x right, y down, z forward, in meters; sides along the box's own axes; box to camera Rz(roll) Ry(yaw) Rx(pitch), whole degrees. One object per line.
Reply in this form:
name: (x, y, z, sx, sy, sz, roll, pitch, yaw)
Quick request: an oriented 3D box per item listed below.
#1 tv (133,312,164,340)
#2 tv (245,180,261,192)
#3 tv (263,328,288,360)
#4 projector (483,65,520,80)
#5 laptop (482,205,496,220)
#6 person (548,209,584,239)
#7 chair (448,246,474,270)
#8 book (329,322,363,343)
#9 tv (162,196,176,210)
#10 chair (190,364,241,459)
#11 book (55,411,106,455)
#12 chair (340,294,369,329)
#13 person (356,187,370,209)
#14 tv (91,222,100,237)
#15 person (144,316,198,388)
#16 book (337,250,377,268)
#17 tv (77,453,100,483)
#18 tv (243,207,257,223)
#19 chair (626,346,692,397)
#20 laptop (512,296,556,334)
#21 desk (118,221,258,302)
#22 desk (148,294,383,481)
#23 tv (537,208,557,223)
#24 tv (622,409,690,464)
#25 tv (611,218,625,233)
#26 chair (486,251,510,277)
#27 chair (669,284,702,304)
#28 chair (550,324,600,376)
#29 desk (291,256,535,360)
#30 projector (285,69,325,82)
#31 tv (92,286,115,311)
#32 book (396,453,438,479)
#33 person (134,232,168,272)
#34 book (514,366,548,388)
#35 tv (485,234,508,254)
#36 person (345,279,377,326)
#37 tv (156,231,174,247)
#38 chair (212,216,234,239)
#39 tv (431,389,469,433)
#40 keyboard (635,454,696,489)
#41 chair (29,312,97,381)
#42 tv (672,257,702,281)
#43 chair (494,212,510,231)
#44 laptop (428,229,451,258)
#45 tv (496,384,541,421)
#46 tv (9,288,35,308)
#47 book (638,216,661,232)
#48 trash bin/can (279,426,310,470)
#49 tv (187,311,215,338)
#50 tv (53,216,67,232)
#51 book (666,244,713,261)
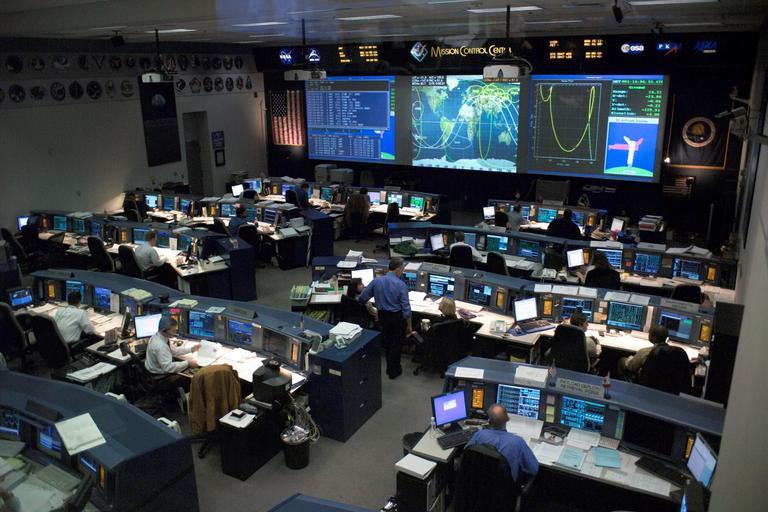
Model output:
tv: (-3.847, 1.075, 9.469, 0.523, 0.474, 0.376, -2, 13, -29)
tv: (-3.875, -2.096, 17.192, 0.384, 0.354, 0.683, 0, 3, -9)
tv: (-1.692, 1.369, 8.990, 0.441, 0.283, 0.236, 13, 19, 26)
projector: (2.304, -3.593, 11.244, 0.688, 0.314, 0.349, 2, 16, 12)
laptop: (2.700, -1.106, 14.788, 0.337, 0.461, 0.352, 1, 4, -20)
person: (4.216, -0.714, 13.219, 0.477, 0.764, 0.627, -14, 23, -38)
chair: (1.566, 0.018, 11.753, 0.427, 0.642, 0.508, 7, 34, 14)
book: (-0.646, 1.173, 8.896, 0.328, 0.094, 0.307, 11, 23, 33)
tv: (-5.993, -1.494, 16.003, 0.347, 0.306, 0.175, 8, 20, 18)
chair: (-2.641, 2.205, 8.514, 0.743, 1.170, 0.786, 5, 12, 31)
book: (-3.651, 2.217, 6.941, 0.421, 0.496, 0.429, 13, 21, 41)
chair: (-0.571, 1.039, 10.357, 0.593, 0.661, 0.565, 1, 12, 3)
person: (-0.544, -1.577, 15.780, 0.273, 0.477, 0.758, -2, 15, -3)
tv: (-6.818, -0.623, 13.553, 0.053, 0.254, 0.378, -10, 14, -44)
person: (-3.328, 1.713, 9.075, 0.933, 1.414, 0.672, 1, 13, -28)
book: (-0.544, 0.094, 11.229, 0.400, 0.164, 0.519, 5, 12, 16)
tv: (-3.564, 2.543, 6.926, 0.333, 0.313, 0.077, 10, 11, 30)
tv: (-3.470, -1.058, 14.865, 0.444, 0.411, 0.226, 5, 16, 9)
chair: (3.992, 1.589, 8.379, 0.608, 0.806, 0.747, 5, 12, 17)
laptop: (2.454, 1.001, 9.577, 0.782, 0.465, 0.508, -8, 8, -24)
desk: (-3.829, 0.124, 12.347, 3.041, 0.961, 1.652, 13, 22, 29)
desk: (-2.120, 1.617, 9.353, 3.854, 1.228, 1.207, 10, 20, 24)
tv: (4.094, -1.014, 14.365, 0.434, 0.343, 0.230, 8, 13, 32)
tv: (3.418, 2.311, 7.412, 0.710, 0.532, 0.670, 18, 13, 15)
tv: (5.393, -0.683, 13.268, 0.080, 0.269, 0.292, 12, 9, -45)
chair: (2.256, 0.143, 11.574, 0.394, 0.563, 0.480, 15, 22, 42)
chair: (5.324, 0.715, 10.137, 0.470, 0.304, 0.480, 14, 22, 40)
chair: (2.918, 1.463, 8.822, 0.625, 1.017, 0.648, 10, 26, 29)
desk: (0.951, 1.045, 10.690, 3.993, 1.225, 1.740, 4, 33, 36)
projector: (-1.951, -4.615, 14.794, 1.088, 0.266, 0.995, 4, 11, 17)
tv: (-5.044, 0.772, 10.340, 0.422, 0.448, 0.035, 10, 16, 23)
book: (0.392, 2.671, 7.239, 0.285, 0.068, 0.305, 12, 19, 34)
person: (-4.960, -0.091, 12.192, 0.729, 0.820, 0.550, 12, 15, 15)
book: (2.009, 1.626, 7.814, 0.314, 0.070, 0.289, 7, 22, 25)
tv: (2.455, -0.267, 12.442, 0.379, 0.293, 0.191, 9, 19, 28)
person: (-0.487, 0.782, 10.595, 0.829, 0.924, 0.721, 2, 18, 3)
tv: (-5.000, -0.379, 13.117, 0.369, 0.319, 0.194, 3, 3, 20)
chair: (-3.854, -0.654, 13.669, 0.395, 0.609, 0.440, -16, 29, -37)
tv: (0.872, 2.100, 7.776, 0.569, 0.456, 0.240, -4, -4, -34)
keyboard: (3.434, 2.644, 7.084, 0.581, 0.145, 0.280, 9, 18, 34)
chair: (-5.371, 1.497, 9.685, 0.885, 1.192, 0.849, 11, 17, 16)
tv: (5.852, 0.248, 11.071, 0.378, 0.306, 0.202, 14, 26, 33)
chair: (2.806, -0.857, 13.881, 0.461, 0.460, 0.342, 7, 20, 26)
laptop: (1.176, -0.278, 12.831, 0.609, 0.539, 0.484, -7, 14, -26)
tv: (1.855, 1.978, 7.945, 0.850, 0.417, 0.559, 8, -7, 11)
tv: (-6.697, 0.782, 10.572, 0.189, 0.313, 0.350, 4, 6, 36)
book: (6.348, -0.785, 13.644, 0.373, 0.174, 0.503, 10, 22, 34)
trash bin/can: (-1.256, 2.844, 8.326, 0.382, 0.353, 0.359, -2, -10, -12)
tv: (-3.013, 1.129, 9.498, 0.419, 0.357, 0.212, 6, 13, 16)
tv: (-7.928, -0.794, 14.061, 0.333, 0.296, 0.173, 9, 20, 16)
book: (5.913, -0.060, 11.087, 0.453, 0.129, 0.441, 12, 19, 38)
